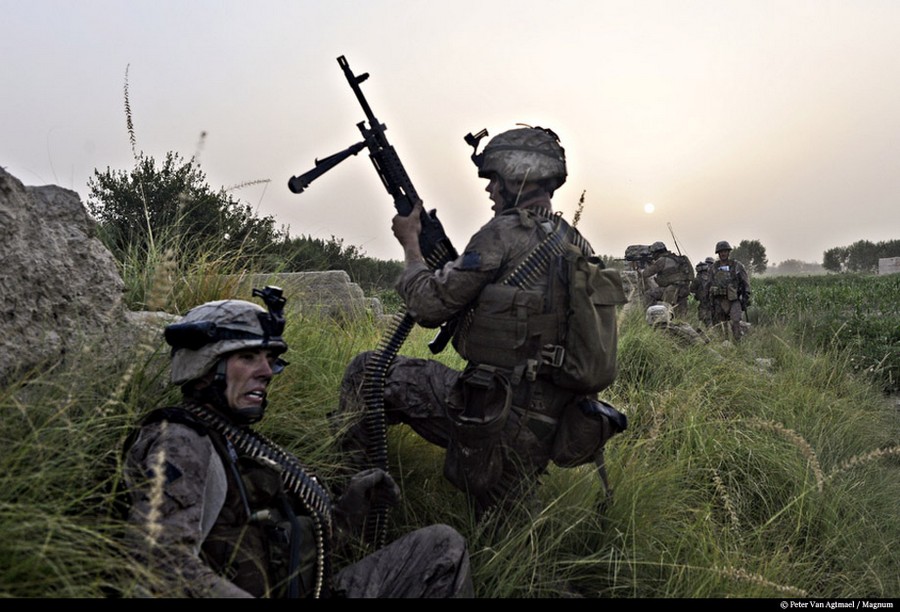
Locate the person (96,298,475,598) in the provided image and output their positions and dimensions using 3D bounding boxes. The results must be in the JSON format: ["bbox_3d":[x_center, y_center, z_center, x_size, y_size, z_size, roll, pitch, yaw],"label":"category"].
[{"bbox_3d":[-0.928,0.749,3.410,1.493,1.707,0.789,1,-2,-28],"label":"person"}]

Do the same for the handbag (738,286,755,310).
[{"bbox_3d":[6.830,-0.148,14.605,0.172,0.632,0.101,-1,14,3],"label":"handbag"}]

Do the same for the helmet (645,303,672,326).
[{"bbox_3d":[3.636,0.173,11.030,0.443,0.444,0.439,2,10,10],"label":"helmet"}]

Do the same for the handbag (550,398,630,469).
[{"bbox_3d":[0.985,0.937,4.551,0.378,0.599,0.495,15,4,-19],"label":"handbag"}]

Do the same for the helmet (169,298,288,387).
[{"bbox_3d":[-1.191,0.165,3.571,0.519,0.447,0.464,8,-3,9],"label":"helmet"}]
